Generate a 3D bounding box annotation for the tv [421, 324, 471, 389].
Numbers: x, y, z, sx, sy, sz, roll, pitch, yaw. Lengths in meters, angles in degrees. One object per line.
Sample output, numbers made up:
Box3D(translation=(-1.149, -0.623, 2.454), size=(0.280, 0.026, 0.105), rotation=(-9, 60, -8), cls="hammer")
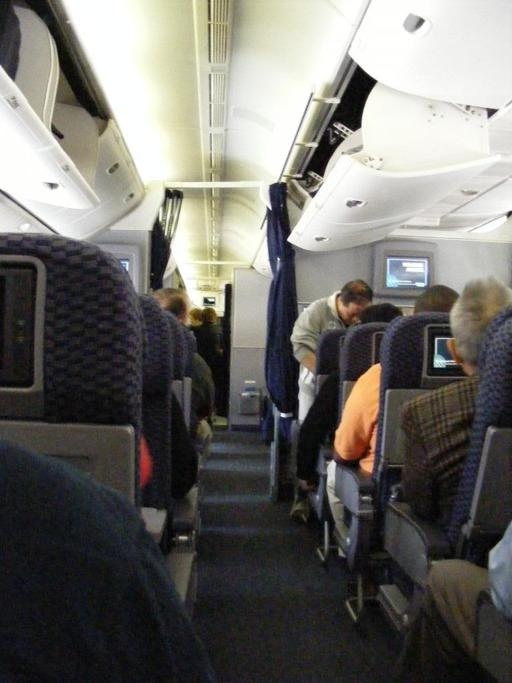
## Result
Box3D(translation=(0.677, 0.048, 1.998), size=(0.230, 0.279, 0.029), rotation=(-4, 5, -25), cls="tv")
